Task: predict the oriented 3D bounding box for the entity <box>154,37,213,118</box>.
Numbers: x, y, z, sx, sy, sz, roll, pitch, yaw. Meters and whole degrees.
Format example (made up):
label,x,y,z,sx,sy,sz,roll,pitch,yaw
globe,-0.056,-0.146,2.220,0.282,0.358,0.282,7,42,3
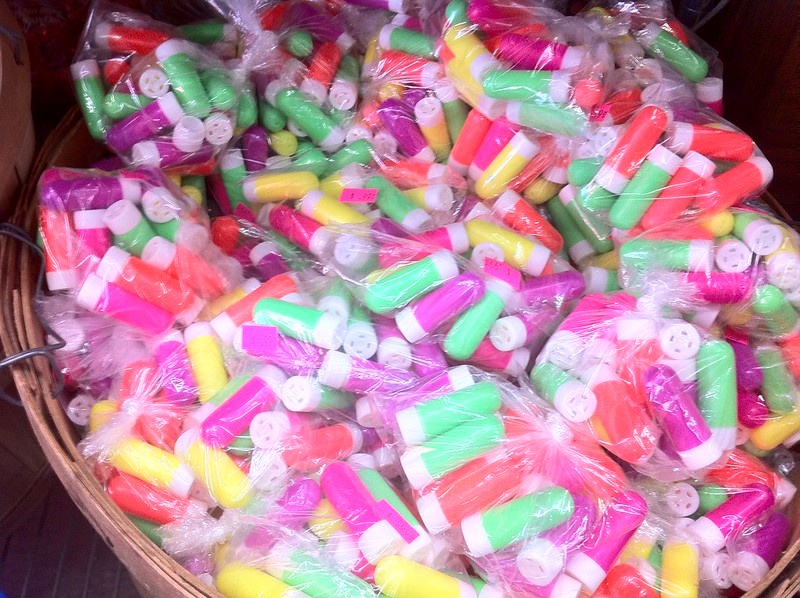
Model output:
label,x,y,z,sx,sy,sz,roll,pitch,yaw
entity,-0.677,-0.693,2.000,0.134,0.106,0.272,-24,79,-4
